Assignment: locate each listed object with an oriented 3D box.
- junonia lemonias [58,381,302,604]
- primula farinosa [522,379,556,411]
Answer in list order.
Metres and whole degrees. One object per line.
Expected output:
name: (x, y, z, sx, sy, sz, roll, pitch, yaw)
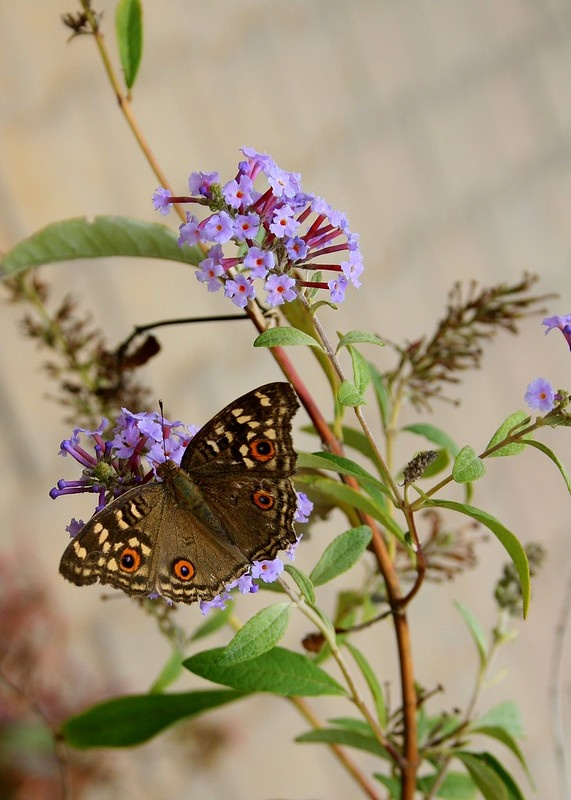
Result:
junonia lemonias: (-0.060, 0.116, 0.935, 0.298, 0.218, 0.246, -4, -17, 10)
primula farinosa: (0.248, -0.005, 0.791, 0.032, 0.028, 0.012, -7, -7, 35)
